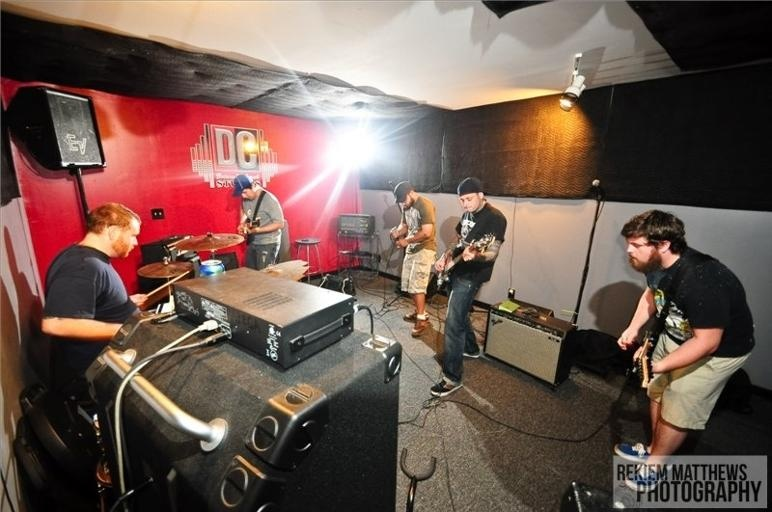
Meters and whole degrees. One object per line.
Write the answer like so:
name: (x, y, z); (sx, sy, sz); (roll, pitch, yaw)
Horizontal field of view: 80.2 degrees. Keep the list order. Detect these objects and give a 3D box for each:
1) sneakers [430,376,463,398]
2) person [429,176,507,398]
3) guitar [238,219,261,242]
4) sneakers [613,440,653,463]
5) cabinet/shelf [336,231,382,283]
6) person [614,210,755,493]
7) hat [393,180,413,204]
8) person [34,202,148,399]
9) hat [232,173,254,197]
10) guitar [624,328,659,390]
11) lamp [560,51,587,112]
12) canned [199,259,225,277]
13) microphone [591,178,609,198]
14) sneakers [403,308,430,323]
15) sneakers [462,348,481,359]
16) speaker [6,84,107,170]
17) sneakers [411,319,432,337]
sneakers: (0.553, 1.199, 4.232); (0.310, 0.125, 0.129); (0, 4, -13)
person: (0.775, 0.254, 4.273); (0.616, 1.938, 0.809); (2, 14, 10)
guitar: (-1.605, -0.334, 5.530); (0.196, 0.132, 0.335); (-10, 22, 4)
sneakers: (1.971, 1.557, 3.666); (0.262, 0.102, 0.112); (-2, -2, 28)
cabinet/shelf: (-0.377, -0.015, 7.089); (0.711, 0.658, 0.515); (12, 18, 42)
person: (2.206, 0.680, 3.530); (0.822, 2.076, 0.672); (-2, 13, -7)
hat: (0.189, -0.735, 5.253); (0.191, 0.245, 0.250); (-9, 15, -30)
person: (-2.094, 0.288, 3.349); (0.703, 1.304, 0.488); (-11, 17, -37)
hat: (-1.710, -0.868, 5.523); (0.208, 0.151, 0.283); (20, 52, 31)
guitar: (1.966, 0.779, 3.536); (0.145, 0.206, 0.489); (-9, 29, 34)
lamp: (1.651, -1.530, 4.040); (0.194, 0.394, 0.638); (5, 14, 22)
canned: (-1.262, 0.081, 3.350); (0.134, 0.122, 0.132); (-9, 17, -41)
microphone: (2.148, -0.696, 4.647); (0.147, 0.204, 0.081); (6, 15, 28)
sneakers: (0.367, 0.691, 5.330); (0.137, 0.122, 0.292); (2, -7, -34)
sneakers: (0.879, 0.982, 4.684); (0.239, 0.104, 0.086); (1, 9, -4)
speaker: (-2.852, -1.102, 4.313); (0.642, 0.826, 0.884); (4, 9, 0)
sneakers: (0.416, 0.783, 5.188); (0.120, 0.159, 0.359); (9, 16, 36)
